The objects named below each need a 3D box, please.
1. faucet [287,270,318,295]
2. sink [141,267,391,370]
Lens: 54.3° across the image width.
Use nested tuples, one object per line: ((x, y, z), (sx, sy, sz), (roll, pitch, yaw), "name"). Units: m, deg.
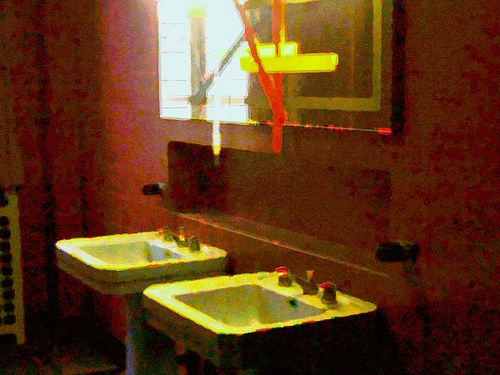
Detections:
((0.237, 0.388, 2.043), (0.056, 0.081, 0.187), (-1, 7, -24), "faucet")
((0.096, 0.500, 1.919), (0.466, 0.237, 0.553), (-3, 7, -28), "sink")
